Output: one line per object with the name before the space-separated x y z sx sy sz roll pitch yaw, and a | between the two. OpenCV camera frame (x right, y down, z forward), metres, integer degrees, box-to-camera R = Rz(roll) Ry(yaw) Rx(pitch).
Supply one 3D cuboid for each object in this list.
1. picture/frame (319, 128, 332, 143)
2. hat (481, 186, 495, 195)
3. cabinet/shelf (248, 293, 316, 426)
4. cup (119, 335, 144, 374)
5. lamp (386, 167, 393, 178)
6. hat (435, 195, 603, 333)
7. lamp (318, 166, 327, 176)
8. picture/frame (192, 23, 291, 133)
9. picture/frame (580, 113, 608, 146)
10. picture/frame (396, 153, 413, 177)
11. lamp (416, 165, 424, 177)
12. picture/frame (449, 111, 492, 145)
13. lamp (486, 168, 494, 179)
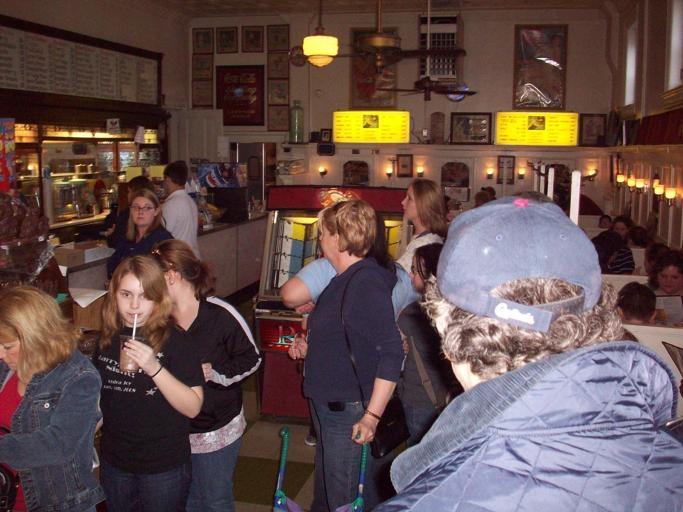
picture/frame | -0.366 -2.635 11.555 0.316 0.422 0.041 4 22 2
hat | 3.005 -1.323 10.672 0.356 0.094 0.361 2 17 -1
cabinet/shelf | -0.418 0.931 4.541 0.561 0.948 0.745 2 -10 -4
cup | -0.851 0.384 2.087 0.067 0.180 0.151 -6 10 -30
lamp | 1.060 -1.827 11.643 0.172 0.195 0.165 -2 12 -19
hat | 0.388 -0.007 1.125 0.347 0.181 0.472 -2 19 12
lamp | -0.422 -1.885 11.726 0.165 0.169 0.158 1 -14 1
picture/frame | -2.221 -4.091 11.813 2.335 2.414 0.092 2 6 8
picture/frame | 5.345 -2.682 11.063 0.682 0.930 0.122 1 2 3
picture/frame | 1.394 -2.028 11.594 0.477 0.654 0.081 1 6 0
lamp | 1.733 -1.863 11.589 0.167 0.234 0.199 0 9 6
picture/frame | 2.841 -2.786 11.390 0.723 0.622 0.082 1 9 4
lamp | 3.228 -1.774 11.388 0.185 0.359 0.185 0 5 15
